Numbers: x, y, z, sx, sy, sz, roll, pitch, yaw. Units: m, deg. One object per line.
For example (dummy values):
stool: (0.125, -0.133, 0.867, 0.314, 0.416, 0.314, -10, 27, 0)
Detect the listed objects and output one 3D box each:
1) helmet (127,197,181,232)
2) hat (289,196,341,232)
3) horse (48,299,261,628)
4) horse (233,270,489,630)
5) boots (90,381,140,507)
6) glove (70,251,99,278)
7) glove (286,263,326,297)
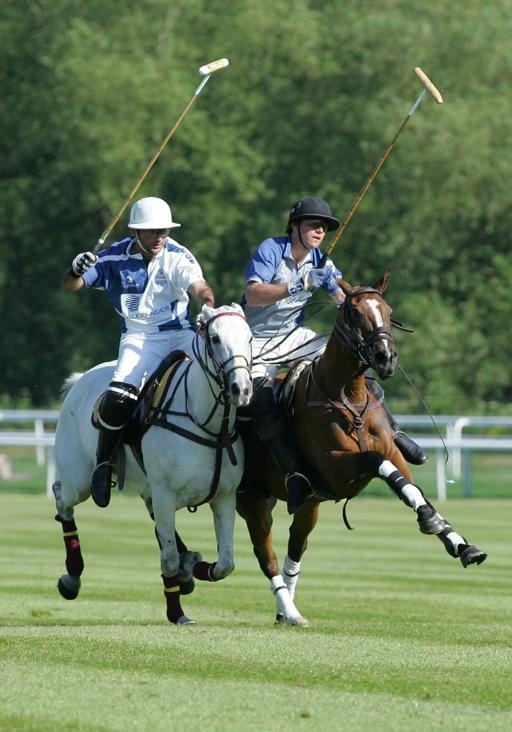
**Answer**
helmet: (-0.618, -0.868, 6.593, 0.234, 0.118, 0.246, -2, 4, -34)
hat: (0.319, -0.927, 6.782, 0.210, 0.123, 0.272, 29, -28, -37)
horse: (-0.596, 0.639, 6.938, 0.832, 1.732, 2.755, 0, -4, -28)
horse: (0.428, 0.610, 6.776, 0.804, 1.783, 2.817, -5, -14, -17)
boots: (-0.873, 0.430, 6.569, 0.241, 0.781, 0.255, 22, 36, 17)
glove: (-0.978, -0.588, 6.528, 0.168, 0.108, 0.066, -33, -22, 36)
glove: (0.271, -0.468, 6.172, 0.164, 0.067, 0.158, -19, -3, -39)
